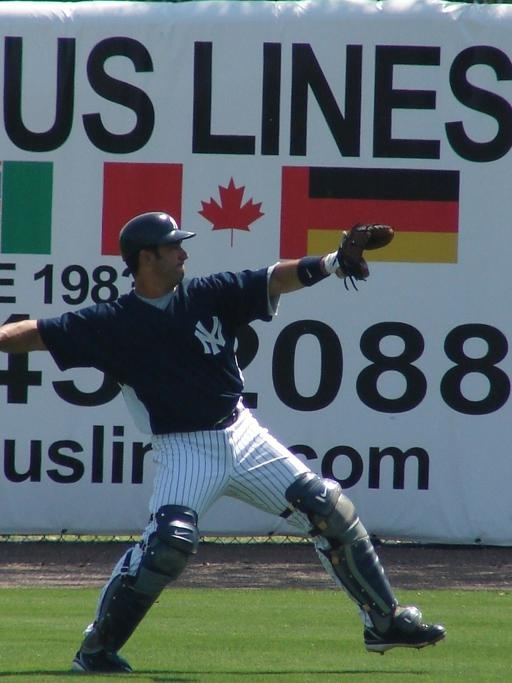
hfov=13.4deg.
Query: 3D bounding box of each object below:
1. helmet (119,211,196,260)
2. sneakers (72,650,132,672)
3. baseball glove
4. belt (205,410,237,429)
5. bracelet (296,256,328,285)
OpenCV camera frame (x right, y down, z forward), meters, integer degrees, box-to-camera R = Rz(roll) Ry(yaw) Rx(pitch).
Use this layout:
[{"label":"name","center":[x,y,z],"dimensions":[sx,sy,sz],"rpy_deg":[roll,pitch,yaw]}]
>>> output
[{"label":"helmet","center":[-0.431,-0.474,9.289],"dimensions":[0.351,0.196,0.274],"rpy_deg":[-12,1,9]},{"label":"sneakers","center":[-0.644,1.333,9.077],"dimensions":[0.260,0.127,0.095],"rpy_deg":[3,3,0]},{"label":"baseball glove","center":[0.430,-0.393,9.192],"dimensions":[0.246,0.173,0.355],"rpy_deg":[-3,-23,-24]},{"label":"belt","center":[-0.142,0.318,9.151],"dimensions":[0.060,0.074,0.110],"rpy_deg":[-12,4,17]},{"label":"bracelet","center":[0.227,-0.296,9.175],"dimensions":[0.054,0.099,0.126],"rpy_deg":[-17,-14,-48]}]
